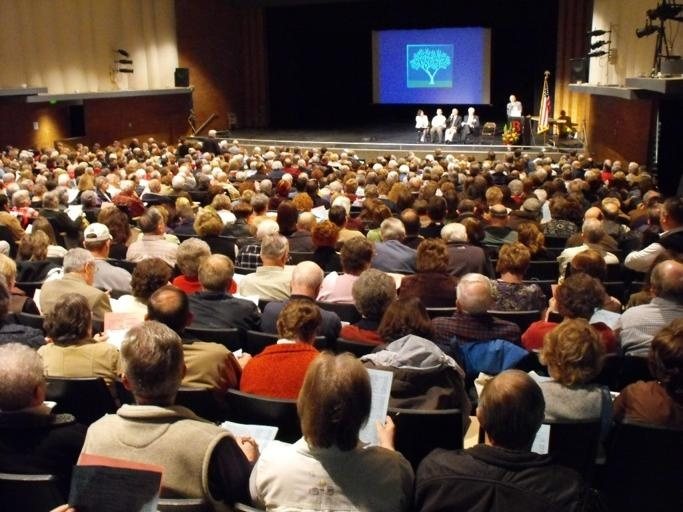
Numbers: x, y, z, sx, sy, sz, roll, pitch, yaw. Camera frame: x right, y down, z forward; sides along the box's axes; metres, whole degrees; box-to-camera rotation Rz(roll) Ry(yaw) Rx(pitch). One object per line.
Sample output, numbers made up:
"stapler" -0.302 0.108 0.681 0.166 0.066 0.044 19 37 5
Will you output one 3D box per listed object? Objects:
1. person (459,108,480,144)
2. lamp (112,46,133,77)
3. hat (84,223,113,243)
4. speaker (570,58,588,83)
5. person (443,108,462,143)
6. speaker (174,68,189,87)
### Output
"person" 4.615 -4.664 19.621 0.591 1.389 0.888 9 7 23
"lamp" -8.360 -7.544 20.997 0.751 1.108 1.802 -4 11 -21
"hat" -2.309 -0.238 5.259 0.161 0.128 0.238 0 23 -2
"speaker" 7.543 -5.863 17.337 0.447 0.706 1.389 3 11 20
"person" 4.009 -4.619 19.490 0.596 1.159 0.986 2 10 14
"speaker" -6.257 -7.039 21.521 0.494 0.787 0.762 -5 11 -23
